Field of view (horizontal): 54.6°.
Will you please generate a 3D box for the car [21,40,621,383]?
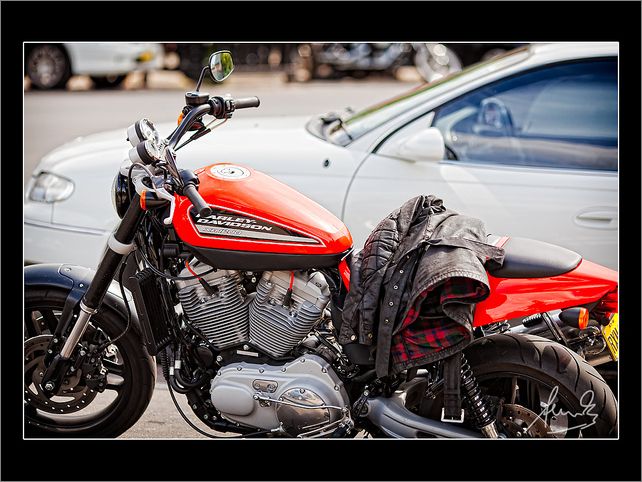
[{"bbox_3d":[-0.166,-0.579,5.187,4.681,1.639,2.158,8,12,1],"label":"car"}]
